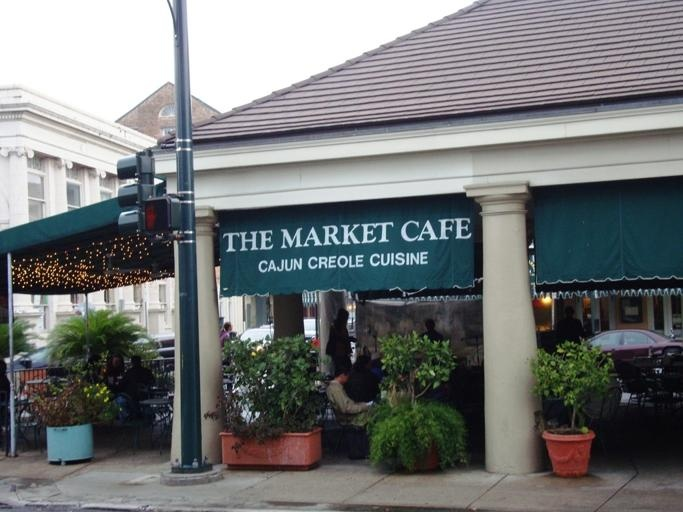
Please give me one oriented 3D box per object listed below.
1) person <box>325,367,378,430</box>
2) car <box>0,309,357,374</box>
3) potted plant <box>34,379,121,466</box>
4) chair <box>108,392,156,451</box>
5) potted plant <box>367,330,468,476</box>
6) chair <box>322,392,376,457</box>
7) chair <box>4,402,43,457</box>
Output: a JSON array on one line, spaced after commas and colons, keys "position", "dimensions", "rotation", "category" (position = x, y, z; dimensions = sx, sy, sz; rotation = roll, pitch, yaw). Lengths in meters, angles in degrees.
[{"position": [0.165, 2.599, 18.185], "dimensions": [0.801, 1.241, 0.983], "rotation": [-6, 8, -9], "category": "person"}, {"position": [-4.231, 2.094, 23.845], "dimensions": [7.229, 2.041, 2.117], "rotation": [-2, 0, 8], "category": "car"}, {"position": [-5.267, 3.182, 18.982], "dimensions": [1.671, 2.037, 1.358], "rotation": [2, -9, -7], "category": "potted plant"}, {"position": [-4.429, 3.372, 20.135], "dimensions": [1.249, 0.844, 0.608], "rotation": [11, -7, 21], "category": "chair"}, {"position": [1.289, 2.532, 17.034], "dimensions": [1.679, 2.406, 0.936], "rotation": [-2, -6, 0], "category": "potted plant"}, {"position": [0.160, 3.292, 18.885], "dimensions": [0.983, 1.859, 0.936], "rotation": [-3, -6, 27], "category": "chair"}, {"position": [-6.850, 3.640, 20.612], "dimensions": [0.913, 1.375, 0.910], "rotation": [-9, -10, 44], "category": "chair"}]
